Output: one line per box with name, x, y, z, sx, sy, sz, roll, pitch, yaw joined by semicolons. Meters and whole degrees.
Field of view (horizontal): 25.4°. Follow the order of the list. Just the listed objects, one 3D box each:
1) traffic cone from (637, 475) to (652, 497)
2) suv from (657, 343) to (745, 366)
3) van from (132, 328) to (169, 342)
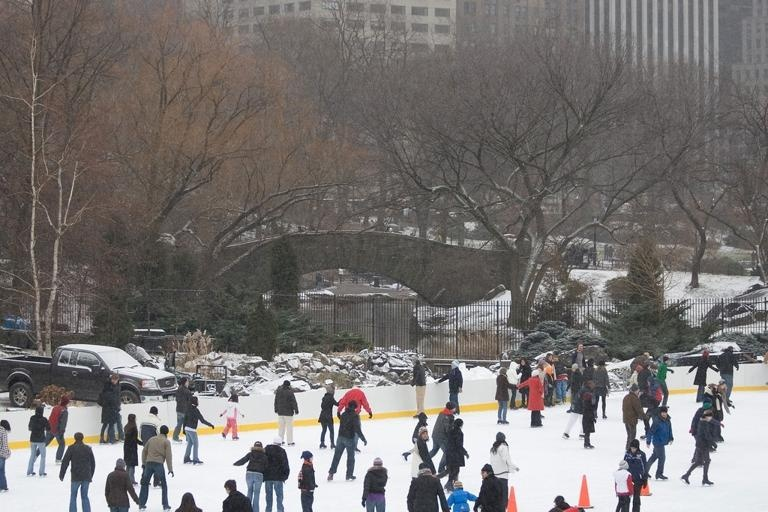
traffic cone;14.198;12.607;93.225;0.765;0.934;0.796;1;-3;-6
suv;20.579;7.101;110.345;4.253;1.102;2.440;-6;4;2
van;-15.375;5.077;112.776;2.155;0.973;2.334;-1;-5;-7
